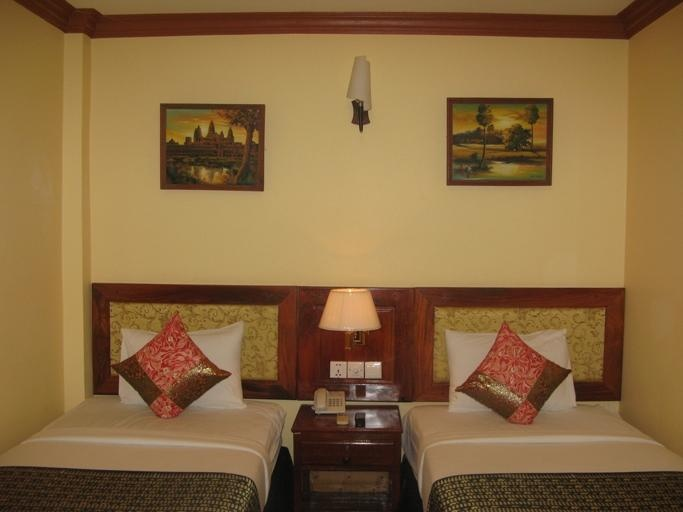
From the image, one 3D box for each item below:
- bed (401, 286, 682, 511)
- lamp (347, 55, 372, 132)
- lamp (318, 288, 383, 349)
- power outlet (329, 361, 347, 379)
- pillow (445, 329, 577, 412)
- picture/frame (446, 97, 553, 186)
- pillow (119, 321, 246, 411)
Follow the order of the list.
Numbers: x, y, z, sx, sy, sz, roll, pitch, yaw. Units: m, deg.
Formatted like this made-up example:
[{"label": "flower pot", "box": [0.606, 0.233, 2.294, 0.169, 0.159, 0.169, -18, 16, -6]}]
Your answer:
[{"label": "bed", "box": [1.215, 0.780, 4.104, 1.382, 1.113, 1.370, 0, 1, -3]}, {"label": "lamp", "box": [0.133, -1.188, 4.102, 0.174, 0.557, 0.347, 1, 5, 2]}, {"label": "lamp", "box": [0.063, 0.478, 4.097, 0.433, 0.466, 0.495, -1, -7, 11]}, {"label": "power outlet", "box": [-0.021, 0.839, 4.226, 0.120, 0.118, 0.115, 3, -17, 2]}, {"label": "pillow", "box": [1.125, 0.903, 4.064, 0.619, 0.233, 0.831, 2, -17, -43]}, {"label": "picture/frame", "box": [1.170, -0.869, 4.227, 0.596, 0.527, 0.026, 1, 3, 1]}, {"label": "pillow", "box": [-1.247, 0.933, 4.289, 0.180, 0.445, 0.652, 51, 5, 37]}]
